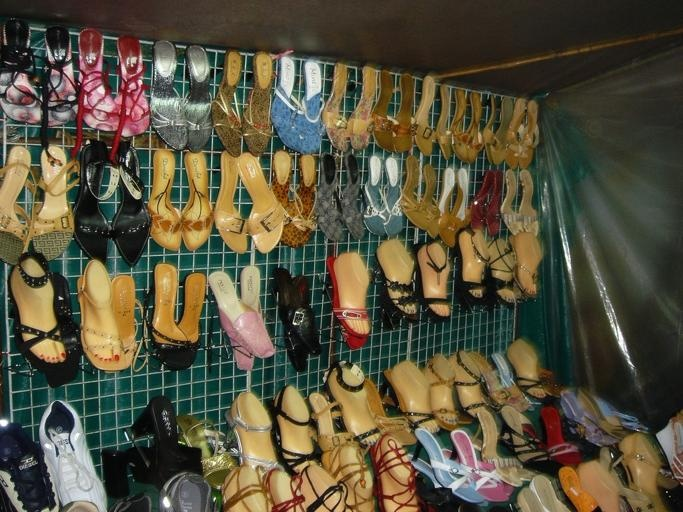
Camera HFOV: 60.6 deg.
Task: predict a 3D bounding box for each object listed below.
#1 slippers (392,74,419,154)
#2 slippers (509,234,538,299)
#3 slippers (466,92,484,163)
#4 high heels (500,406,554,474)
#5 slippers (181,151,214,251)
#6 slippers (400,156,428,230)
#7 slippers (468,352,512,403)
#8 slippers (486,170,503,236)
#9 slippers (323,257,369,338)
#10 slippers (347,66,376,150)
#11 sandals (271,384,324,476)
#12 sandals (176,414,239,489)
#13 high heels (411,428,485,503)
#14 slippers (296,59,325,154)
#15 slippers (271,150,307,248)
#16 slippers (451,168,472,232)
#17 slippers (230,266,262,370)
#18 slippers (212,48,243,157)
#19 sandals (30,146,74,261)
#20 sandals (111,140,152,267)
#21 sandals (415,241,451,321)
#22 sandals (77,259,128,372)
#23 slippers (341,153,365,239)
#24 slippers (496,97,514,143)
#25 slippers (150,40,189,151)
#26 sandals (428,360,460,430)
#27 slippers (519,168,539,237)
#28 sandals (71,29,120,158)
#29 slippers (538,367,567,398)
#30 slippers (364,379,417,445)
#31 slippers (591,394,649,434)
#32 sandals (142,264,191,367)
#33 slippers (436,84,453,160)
[{"bbox_3d":[0.379,-0.837,3.481,0.113,0.480,0.063,-4,14,-16],"label":"slippers"},{"bbox_3d":[1.245,0.072,3.934,0.150,0.438,0.162,-8,13,-5],"label":"slippers"},{"bbox_3d":[0.856,-0.822,3.746,0.110,0.445,0.059,-8,17,-24],"label":"slippers"},{"bbox_3d":[1.090,1.081,3.435,0.157,0.084,0.372,-11,52,-13],"label":"high heels"},{"bbox_3d":[-0.746,-0.285,3.008,0.157,0.491,0.106,-9,8,-35],"label":"slippers"},{"bbox_3d":[0.451,-0.379,3.604,0.160,0.459,0.059,-4,1,-33],"label":"slippers"},{"bbox_3d":[0.968,0.799,3.864,0.095,0.388,0.170,-29,-12,39],"label":"slippers"},{"bbox_3d":[1.043,-0.363,3.951,0.097,0.484,0.062,-1,16,-1],"label":"slippers"},{"bbox_3d":[0.062,0.249,3.376,0.190,0.498,0.178,-10,-5,-33],"label":"slippers"},{"bbox_3d":[0.127,-0.843,3.360,0.129,0.524,0.072,-3,15,-23],"label":"slippers"},{"bbox_3d":[-0.239,0.928,3.136,0.180,0.497,0.118,-1,-18,-43],"label":"sandals"},{"bbox_3d":[-0.725,1.002,3.104,0.187,0.108,0.452,4,44,-56],"label":"sandals"},{"bbox_3d":[0.574,1.150,3.224,0.183,0.203,0.483,-10,30,-43],"label":"high heels"},{"bbox_3d":[-0.164,-0.819,3.213,0.161,0.483,0.105,-6,11,-38],"label":"slippers"},{"bbox_3d":[-0.301,-0.311,3.221,0.177,0.542,0.068,-12,7,-42],"label":"slippers"},{"bbox_3d":[0.793,-0.376,3.816,0.109,0.401,0.056,-8,13,-29],"label":"slippers"},{"bbox_3d":[-0.505,0.333,3.199,0.129,0.546,0.182,2,17,44],"label":"slippers"},{"bbox_3d":[-0.579,-0.779,2.994,0.078,0.496,0.167,11,10,41],"label":"slippers"},{"bbox_3d":[-1.343,-0.231,2.715,0.178,0.545,0.115,-6,4,-43],"label":"sandals"},{"bbox_3d":[-1.016,-0.248,2.823,0.080,0.605,0.176,3,10,41],"label":"sandals"},{"bbox_3d":[0.580,0.141,3.671,0.165,0.511,0.177,-5,-8,-23],"label":"sandals"},{"bbox_3d":[-1.152,0.302,2.862,0.205,0.562,0.183,-11,-5,-41],"label":"sandals"},{"bbox_3d":[0.066,-0.346,3.405,0.141,0.511,0.076,-7,6,-37],"label":"slippers"},{"bbox_3d":[1.080,-0.905,3.834,0.099,0.308,0.068,-1,10,-26],"label":"slippers"},{"bbox_3d":[-0.843,-0.766,2.840,0.160,0.527,0.054,-10,8,-32],"label":"slippers"},{"bbox_3d":[0.618,0.841,3.617,0.126,0.145,0.411,1,49,-16],"label":"sandals"},{"bbox_3d":[1.278,-0.350,3.976,0.117,0.489,0.066,-7,4,2],"label":"slippers"},{"bbox_3d":[-1.143,-0.751,2.739,0.204,0.572,0.109,-7,14,-27],"label":"sandals"},{"bbox_3d":[1.422,0.855,3.983,0.095,0.188,0.049,-19,-31,-6],"label":"slippers"},{"bbox_3d":[0.268,0.916,3.417,0.159,0.076,0.488,13,28,-35],"label":"slippers"},{"bbox_3d":[1.714,0.988,3.607,0.303,0.111,0.074,42,6,31],"label":"slippers"},{"bbox_3d":[-0.885,0.317,2.972,0.076,0.536,0.228,-9,-4,43],"label":"sandals"},{"bbox_3d":[0.644,-0.834,3.627,0.108,0.451,0.060,-9,13,-30],"label":"slippers"}]
